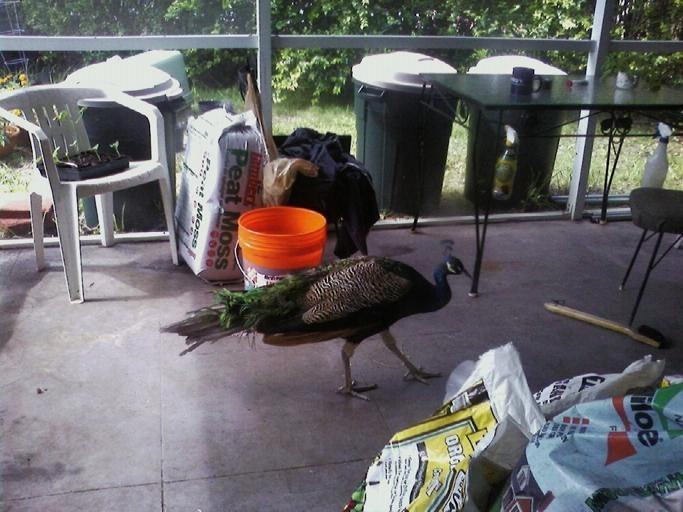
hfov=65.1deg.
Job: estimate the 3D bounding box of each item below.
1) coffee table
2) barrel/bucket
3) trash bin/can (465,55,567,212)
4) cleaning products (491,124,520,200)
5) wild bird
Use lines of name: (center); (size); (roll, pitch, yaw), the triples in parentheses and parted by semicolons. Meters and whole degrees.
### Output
coffee table: (1.114, -0.859, 3.106); (1.483, 1.169, 1.250); (-3, 37, -2)
barrel/bucket: (-0.293, -0.067, 2.516); (0.398, 0.429, 0.405); (2, 19, -1)
trash bin/can: (1.209, -0.711, 3.642); (0.654, 1.285, 0.661); (8, 24, 8)
cleaning products: (0.864, -0.463, 2.789); (0.134, 0.464, 0.161); (5, 21, 1)
wild bird: (-0.086, 0.282, 2.201); (1.157, 0.604, 0.167); (1, 19, 1)
